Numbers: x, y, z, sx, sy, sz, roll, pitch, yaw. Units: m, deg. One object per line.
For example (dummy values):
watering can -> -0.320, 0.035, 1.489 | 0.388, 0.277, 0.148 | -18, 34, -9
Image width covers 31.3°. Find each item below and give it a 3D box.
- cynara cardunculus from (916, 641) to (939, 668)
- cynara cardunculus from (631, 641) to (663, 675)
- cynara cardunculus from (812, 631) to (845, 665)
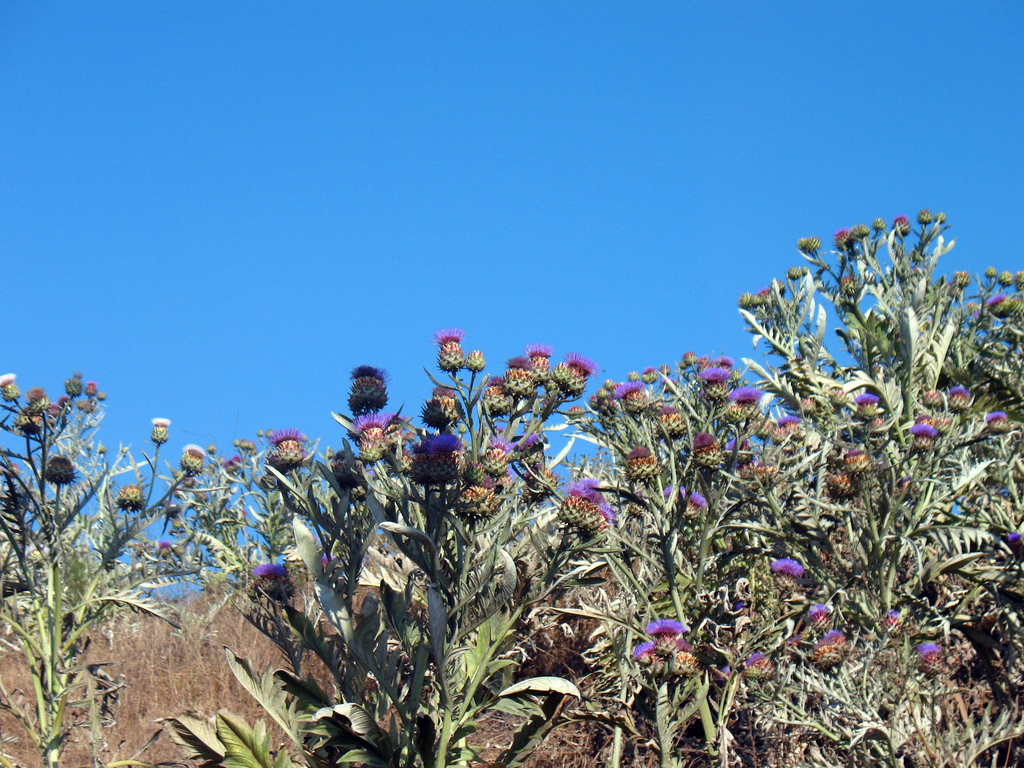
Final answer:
cynara cardunculus -> 2.557, 1.659, 11.237 | 0.115, 0.153, 0.143 | 1, 9, 21
cynara cardunculus -> 0.814, 1.628, 10.989 | 0.186, 0.140, 0.133 | 21, -76, -5
cynara cardunculus -> 1.930, 1.604, 11.102 | 0.228, 0.185, 0.145 | -14, -36, 7
